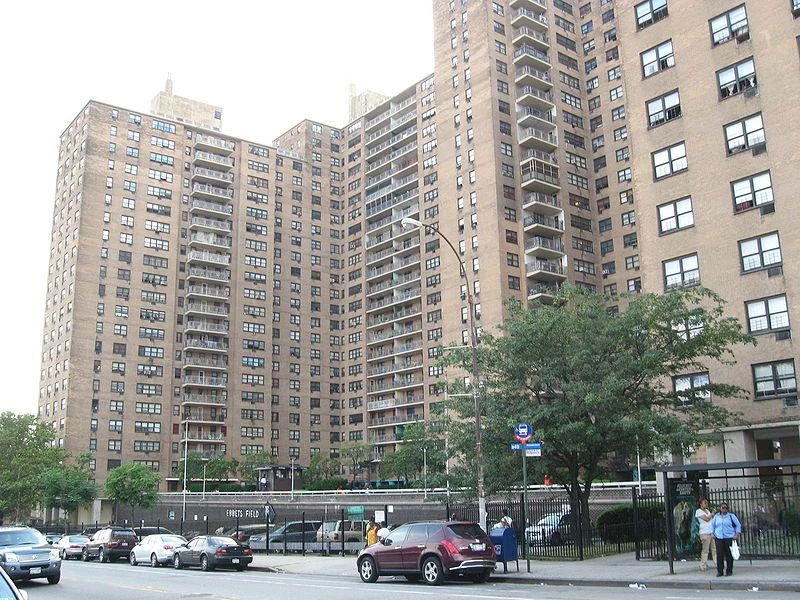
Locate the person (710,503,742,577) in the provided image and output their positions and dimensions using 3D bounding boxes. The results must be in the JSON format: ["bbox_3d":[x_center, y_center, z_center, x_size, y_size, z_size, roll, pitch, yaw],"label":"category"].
[{"bbox_3d":[13.938,10.280,38.083,1.158,3.000,1.350,-15,-22,37],"label":"person"}]

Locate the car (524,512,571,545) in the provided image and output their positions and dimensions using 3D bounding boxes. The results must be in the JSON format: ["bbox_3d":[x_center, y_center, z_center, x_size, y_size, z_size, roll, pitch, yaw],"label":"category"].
[{"bbox_3d":[8.328,12.326,48.190,3.018,1.652,1.840,10,-22,-27],"label":"car"}]
